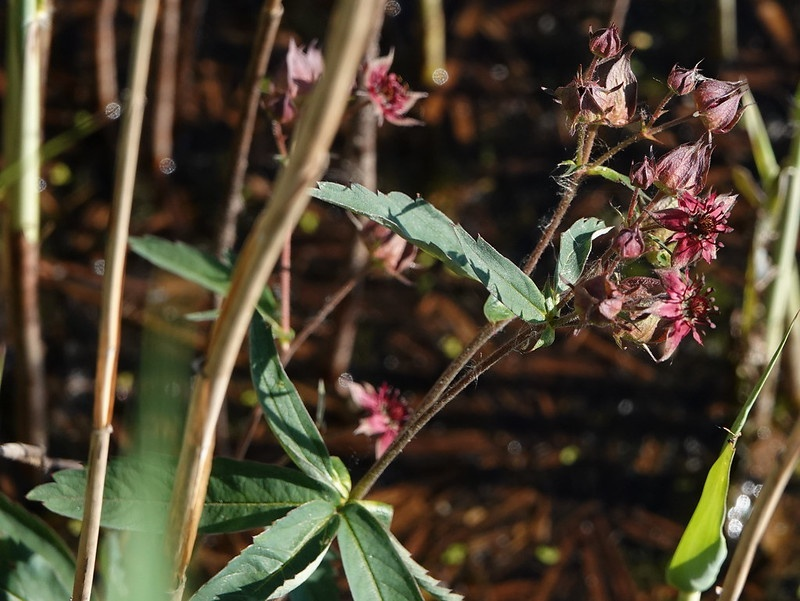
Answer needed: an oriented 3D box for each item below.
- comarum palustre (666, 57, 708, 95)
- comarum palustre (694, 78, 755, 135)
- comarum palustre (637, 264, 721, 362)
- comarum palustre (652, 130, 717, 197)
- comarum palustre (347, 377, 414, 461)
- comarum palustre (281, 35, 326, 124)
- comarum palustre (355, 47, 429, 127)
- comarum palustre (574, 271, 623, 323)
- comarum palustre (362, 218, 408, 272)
[{"bbox_3d":[0.305,-0.230,1.009,0.032,0.036,0.093,5,4,20],"label":"comarum palustre"},{"bbox_3d":[0.334,-0.202,1.003,0.050,0.058,0.071,5,4,18],"label":"comarum palustre"},{"bbox_3d":[0.278,0.019,0.984,0.025,0.079,0.078,37,-14,6],"label":"comarum palustre"},{"bbox_3d":[0.291,-0.136,0.972,0.047,0.062,0.026,27,26,-8],"label":"comarum palustre"},{"bbox_3d":[-0.031,0.136,1.147,0.032,0.083,0.082,-40,1,38],"label":"comarum palustre"},{"bbox_3d":[-0.105,-0.248,1.056,0.058,0.091,0.031,14,23,-9],"label":"comarum palustre"},{"bbox_3d":[-0.024,-0.245,1.099,0.065,0.034,0.071,2,-31,38],"label":"comarum palustre"},{"bbox_3d":[0.206,-0.003,0.957,0.058,0.047,0.031,1,4,-31],"label":"comarum palustre"},{"bbox_3d":[-0.006,-0.067,1.115,0.054,0.028,0.072,-17,29,45],"label":"comarum palustre"}]
